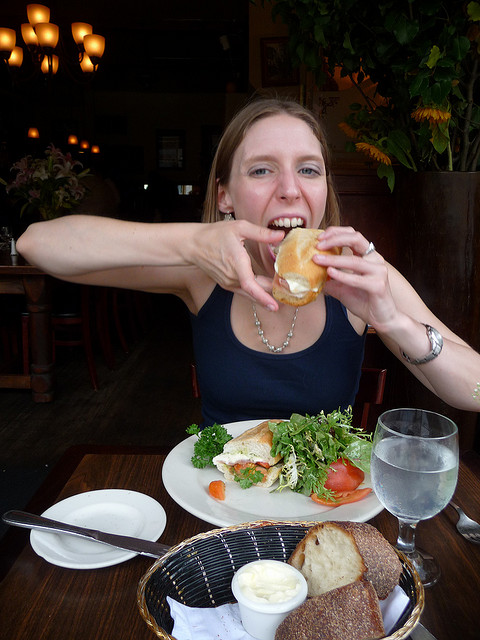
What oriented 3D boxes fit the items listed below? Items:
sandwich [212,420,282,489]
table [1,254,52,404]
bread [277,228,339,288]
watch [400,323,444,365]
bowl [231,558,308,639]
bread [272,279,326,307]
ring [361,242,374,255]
[{"bbox_3d":[0.031,0.297,1.095,0.135,0.099,0.263,12,6,11],"label":"sandwich"},{"bbox_3d":[-1.885,0.079,3.999,0.409,1.175,0.756,-7,15,-32],"label":"table"},{"bbox_3d":[0.149,-0.146,1.089,0.107,0.129,0.123,-3,14,-19],"label":"bread"},{"bbox_3d":[0.477,0.060,1.195,0.084,0.033,0.086,24,3,-29],"label":"watch"},{"bbox_3d":[0.037,0.321,0.549,0.068,0.044,0.068,1,19,0],"label":"bowl"},{"bbox_3d":[0.131,-0.066,1.119,0.079,0.022,0.080,-32,30,-7],"label":"bread"},{"bbox_3d":[0.301,-0.161,1.083,0.028,0.016,0.029,-45,6,6],"label":"ring"}]
